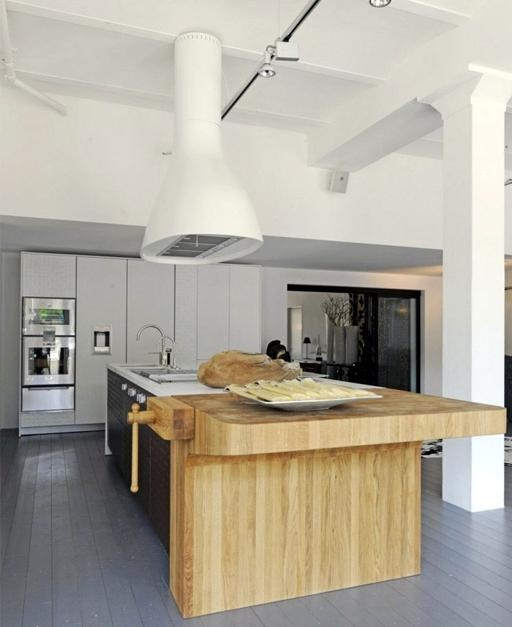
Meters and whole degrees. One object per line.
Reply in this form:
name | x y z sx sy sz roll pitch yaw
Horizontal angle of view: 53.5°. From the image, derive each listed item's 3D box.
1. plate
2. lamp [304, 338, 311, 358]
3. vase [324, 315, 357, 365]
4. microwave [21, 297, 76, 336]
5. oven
plate | 0.155 0.285 1.779 0.442 0.082 0.423 1 -4 -16
lamp | 0.868 0.583 8.656 0.125 0.366 0.090 -1 -3 8
vase | 1.475 0.480 8.629 0.567 0.889 0.588 1 -2 5
microwave | -2.303 0.028 5.635 0.588 0.592 0.336 1 -4 -26
oven | -2.392 0.585 5.874 0.629 1.004 0.643 -2 18 -32
